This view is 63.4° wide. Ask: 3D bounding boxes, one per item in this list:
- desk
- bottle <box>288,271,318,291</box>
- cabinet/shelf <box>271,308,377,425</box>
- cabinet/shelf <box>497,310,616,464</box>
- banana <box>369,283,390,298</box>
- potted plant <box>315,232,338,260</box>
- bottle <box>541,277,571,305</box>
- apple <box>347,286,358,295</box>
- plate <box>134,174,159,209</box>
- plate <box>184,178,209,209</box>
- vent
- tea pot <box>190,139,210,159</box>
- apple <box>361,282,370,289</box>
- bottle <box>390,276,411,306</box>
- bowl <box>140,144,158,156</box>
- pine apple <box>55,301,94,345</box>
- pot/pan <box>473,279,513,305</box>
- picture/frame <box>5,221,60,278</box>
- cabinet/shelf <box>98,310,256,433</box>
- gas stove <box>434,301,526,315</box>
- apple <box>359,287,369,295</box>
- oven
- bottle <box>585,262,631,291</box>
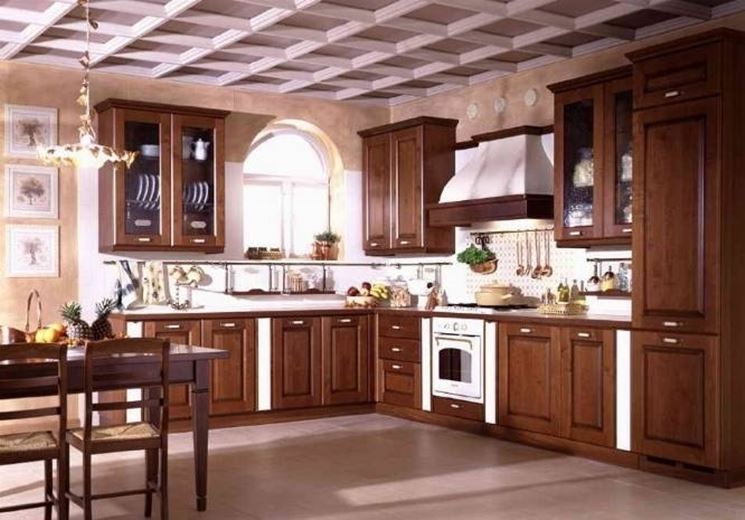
[{"bbox_3d":[-1.550,0.961,3.940,1.444,1.115,1.050,2,-5,-33],"label":"desk"},{"bbox_3d":[-0.804,0.254,7.005,0.424,0.250,0.224,0,4,-35],"label":"bottle"},{"bbox_3d":[-0.557,1.126,6.347,1.370,0.986,0.491,1,-4,-25],"label":"cabinet/shelf"},{"bbox_3d":[1.549,1.075,5.012,0.504,0.983,1.312,4,-4,-40],"label":"cabinet/shelf"},{"bbox_3d":[0.063,0.361,7.077,0.156,0.173,0.254,0,0,39],"label":"banana"},{"bbox_3d":[-0.551,-0.181,7.238,0.183,0.341,0.336,0,0,32],"label":"potted plant"},{"bbox_3d":[1.751,0.297,5.754,0.103,0.226,0.273,4,-4,-24],"label":"bottle"},{"bbox_3d":[-0.224,0.357,6.952,0.112,0.111,0.104,5,0,20],"label":"apple"},{"bbox_3d":[-2.193,-0.684,6.004,0.122,0.294,0.264,5,-3,-33],"label":"plate"},{"bbox_3d":[-1.799,-0.684,6.144,0.260,0.297,0.069,5,-8,-14],"label":"plate"},{"bbox_3d":[1.414,-0.884,6.305,0.929,0.878,1.650,-5,5,-25],"label":"vent"},{"bbox_3d":[-1.773,-1.147,6.181,0.246,0.213,0.150,4,-7,-29],"label":"tea pot"},{"bbox_3d":[-0.086,0.295,6.999,0.091,0.077,0.102,-17,-21,25],"label":"apple"},{"bbox_3d":[0.325,0.364,7.080,0.256,0.322,0.607,0,0,3],"label":"bottle"},{"bbox_3d":[-2.196,-1.084,5.961,0.137,0.069,0.126,1,3,0],"label":"bowl"},{"bbox_3d":[-1.826,0.406,3.708,0.169,0.301,0.156,3,5,22],"label":"pine apple"},{"bbox_3d":[1.178,0.335,5.941,0.303,0.149,0.235,2,-4,-34],"label":"pot/pan"},{"bbox_3d":[-3.302,-0.099,5.845,0.663,0.641,0.032,0,-1,-30],"label":"picture/frame"},{"bbox_3d":[-1.976,0.960,6.282,2.045,1.411,1.110,0,-2,-28],"label":"cabinet/shelf"},{"bbox_3d":[1.018,0.473,5.918,0.878,0.083,0.714,0,0,27],"label":"gas stove"},{"bbox_3d":[-0.091,0.358,6.845,0.087,0.029,0.085,24,33,29],"label":"apple"},{"bbox_3d":[0.815,1.001,5.853,0.551,0.482,0.419,-1,-6,20],"label":"oven"},{"bbox_3d":[2.097,0.149,5.351,0.112,0.178,0.305,0,0,-44],"label":"bottle"}]
